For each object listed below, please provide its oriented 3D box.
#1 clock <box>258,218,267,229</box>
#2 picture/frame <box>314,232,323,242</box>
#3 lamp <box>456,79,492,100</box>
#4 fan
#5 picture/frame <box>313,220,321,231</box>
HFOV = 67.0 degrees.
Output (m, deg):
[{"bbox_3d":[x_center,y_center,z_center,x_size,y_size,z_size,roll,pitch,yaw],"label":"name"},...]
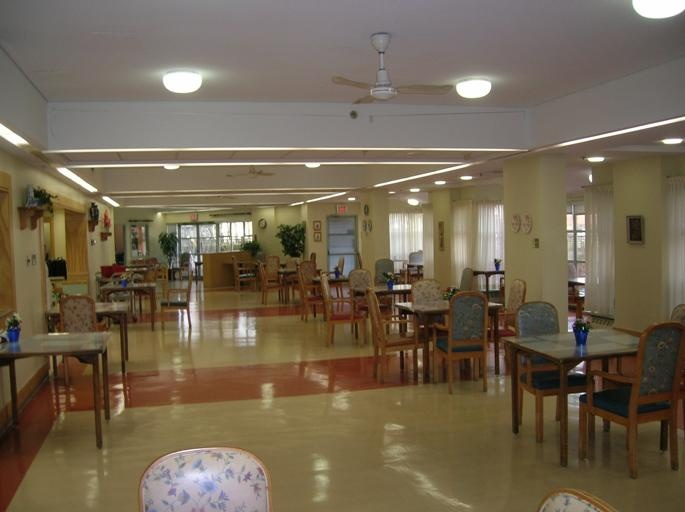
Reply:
[{"bbox_3d":[-2.993,-1.220,19.415,0.088,0.375,0.354,-5,19,-45],"label":"clock"},{"bbox_3d":[-0.831,-0.670,17.360,0.327,0.344,0.035,0,1,-11],"label":"picture/frame"},{"bbox_3d":[1.489,-1.919,5.887,0.357,0.171,0.228,0,5,15],"label":"lamp"},{"bbox_3d":[0.343,-1.772,5.240,1.129,0.539,1.244,-3,5,-13],"label":"fan"},{"bbox_3d":[-0.861,-1.053,17.325,0.328,0.480,0.046,0,1,-15],"label":"picture/frame"}]
